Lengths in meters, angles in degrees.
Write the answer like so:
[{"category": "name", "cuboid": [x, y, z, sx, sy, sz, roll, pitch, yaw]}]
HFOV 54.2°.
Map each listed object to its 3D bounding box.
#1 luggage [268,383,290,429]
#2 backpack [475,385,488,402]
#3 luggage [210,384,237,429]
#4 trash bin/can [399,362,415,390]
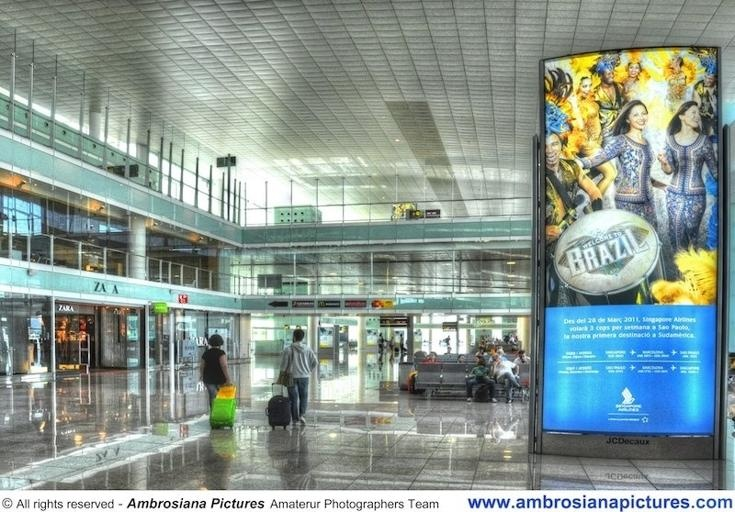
[{"category": "luggage", "cuboid": [-1.811, 3.195, 14.677, 0.477, 0.652, 0.454, -1, -8, -6]}, {"category": "backpack", "cuboid": [3.129, 3.810, 19.702, 0.370, 0.339, 0.439, -5, -3, 30]}, {"category": "luggage", "cuboid": [-2.996, 3.130, 14.865, 0.506, 0.833, 0.592, 0, -8, -13]}, {"category": "trash bin/can", "cuboid": [1.267, 3.753, 22.209, 0.506, 0.838, 0.785, 0, -8, -13]}]
